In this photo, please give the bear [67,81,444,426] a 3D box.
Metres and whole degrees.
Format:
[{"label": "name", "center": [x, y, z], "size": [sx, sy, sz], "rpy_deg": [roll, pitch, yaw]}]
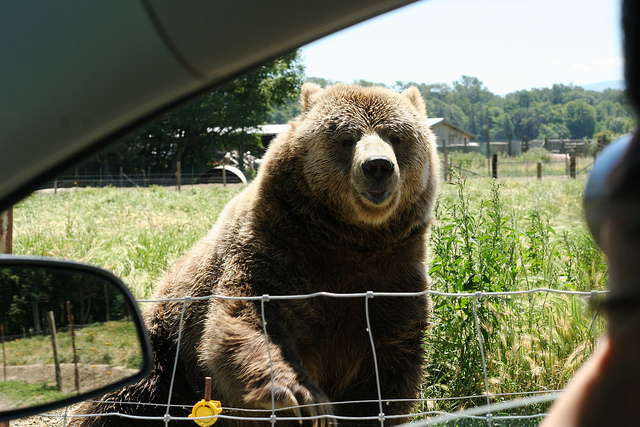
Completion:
[{"label": "bear", "center": [-0.162, 0.232, 5.018], "size": [2.035, 1.750, 1.369], "rpy_deg": [-1, 0, 3]}]
